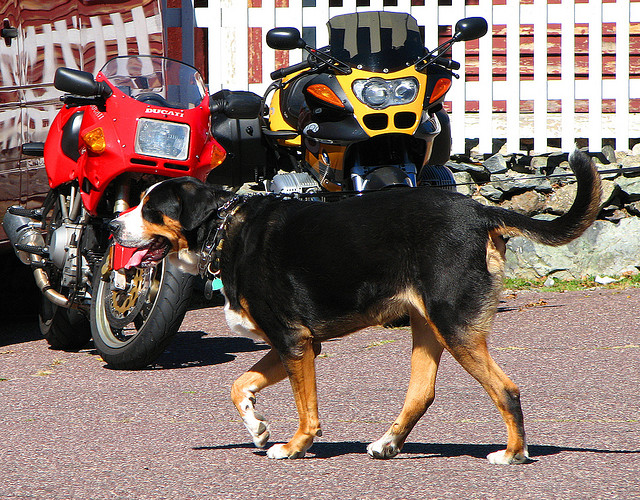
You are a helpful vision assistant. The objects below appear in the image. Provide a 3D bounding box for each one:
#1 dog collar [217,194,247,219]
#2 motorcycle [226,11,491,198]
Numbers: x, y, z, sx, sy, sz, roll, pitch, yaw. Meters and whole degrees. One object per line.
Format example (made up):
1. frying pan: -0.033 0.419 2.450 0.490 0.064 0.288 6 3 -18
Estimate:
1. dog collar: -0.432 -0.219 4.421 0.163 0.024 0.087 -30 29 0
2. motorcycle: 0.171 -1.167 7.275 1.722 1.166 2.557 0 3 -9
